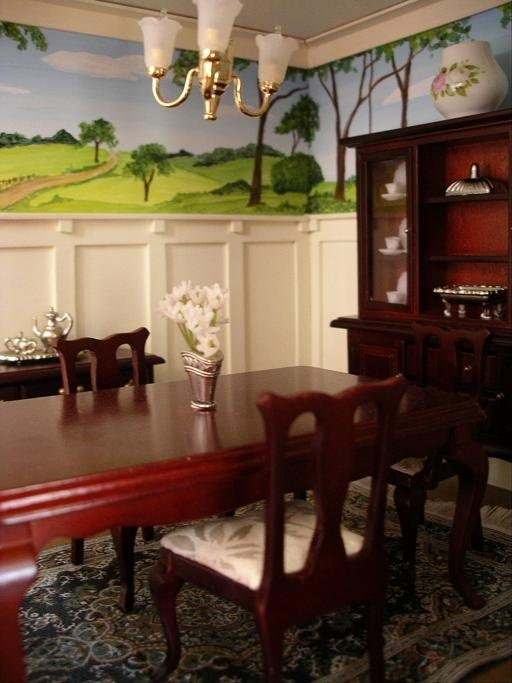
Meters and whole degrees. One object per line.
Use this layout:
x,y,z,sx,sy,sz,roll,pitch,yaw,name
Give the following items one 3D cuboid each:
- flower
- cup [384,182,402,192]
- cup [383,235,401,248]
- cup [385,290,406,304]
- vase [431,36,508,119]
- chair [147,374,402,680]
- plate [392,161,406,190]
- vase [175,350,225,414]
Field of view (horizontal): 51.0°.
-0.184,-0.066,1.653,0.221,0.233,0.158,3,10,34,flower
0.787,-0.877,3.074,0.064,0.041,0.064,-3,2,0,cup
0.798,-0.581,3.120,0.068,0.047,0.069,-1,3,0,cup
0.821,-0.256,3.121,0.078,0.050,0.078,-1,1,0,cup
1.076,-1.330,2.717,0.359,0.371,0.177,0,9,19,vase
0.075,0.444,1.265,0.483,0.825,0.502,-9,10,-36,chair
0.810,-0.930,3.019,0.019,0.159,0.107,-6,9,-19,plate
-0.145,0.123,1.740,0.182,0.200,0.160,3,4,4,vase
